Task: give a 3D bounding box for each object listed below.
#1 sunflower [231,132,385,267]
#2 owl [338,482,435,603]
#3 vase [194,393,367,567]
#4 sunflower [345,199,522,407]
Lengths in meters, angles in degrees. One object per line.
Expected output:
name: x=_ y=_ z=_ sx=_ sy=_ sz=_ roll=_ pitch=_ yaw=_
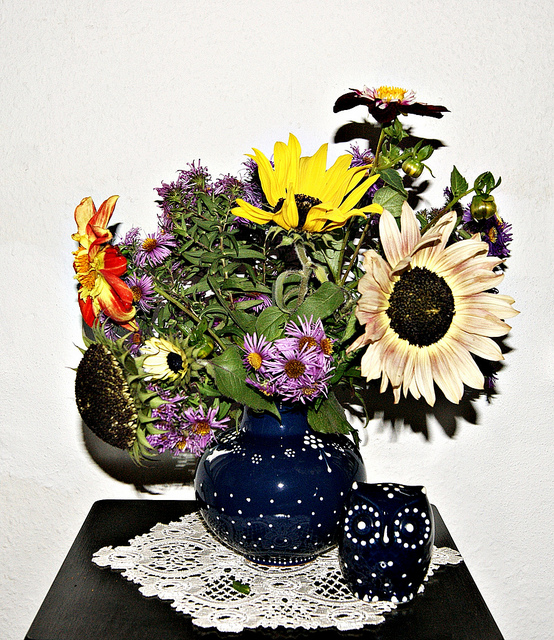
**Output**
sunflower: x=0.029 y=-0.133 z=0.778 sx=0.131 sy=0.131 sz=0.146 roll=-9 pitch=8 yaw=-20
owl: x=0.121 y=0.267 z=0.840 sx=0.133 sy=0.130 sz=0.108 roll=5 pitch=-4 yaw=7
vase: x=-0.003 y=0.204 z=0.947 sx=0.260 sy=0.194 sz=0.230 roll=-1 pitch=0 yaw=-7
sunflower: x=0.160 y=-0.014 z=0.725 sx=0.172 sy=0.202 sz=0.055 roll=-1 pitch=13 yaw=-16
